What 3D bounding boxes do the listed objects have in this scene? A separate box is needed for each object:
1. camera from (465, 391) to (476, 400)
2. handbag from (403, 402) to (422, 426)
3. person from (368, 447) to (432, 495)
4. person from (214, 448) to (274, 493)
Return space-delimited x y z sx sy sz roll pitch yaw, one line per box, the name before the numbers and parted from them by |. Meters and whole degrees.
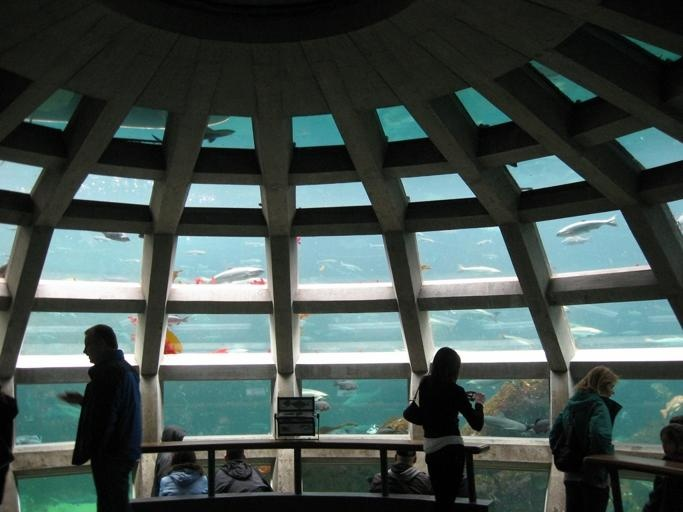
camera | 1.515 1.642 6.126 0.068 0.083 0.200 -7 -29 9
handbag | 0.873 1.866 6.223 0.135 0.278 0.216 -6 -26 -10
person | 0.880 2.988 7.222 0.917 0.702 0.480 2 -22 9
person | -1.449 3.093 7.424 0.761 0.420 1.198 -16 -32 -18
